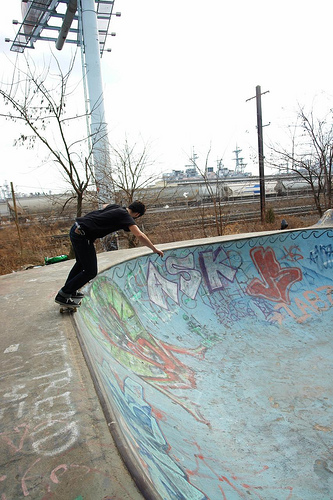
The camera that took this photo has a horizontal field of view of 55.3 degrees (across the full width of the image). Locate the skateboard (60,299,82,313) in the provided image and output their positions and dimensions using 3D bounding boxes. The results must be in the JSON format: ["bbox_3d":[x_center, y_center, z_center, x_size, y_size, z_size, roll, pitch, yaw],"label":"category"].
[{"bbox_3d":[-1.014,0.604,3.422,0.241,0.157,0.079,-1,-11,1],"label":"skateboard"}]

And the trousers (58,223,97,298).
[{"bbox_3d":[-0.956,0.100,3.303,0.441,0.745,0.249,-13,10,-20],"label":"trousers"}]
